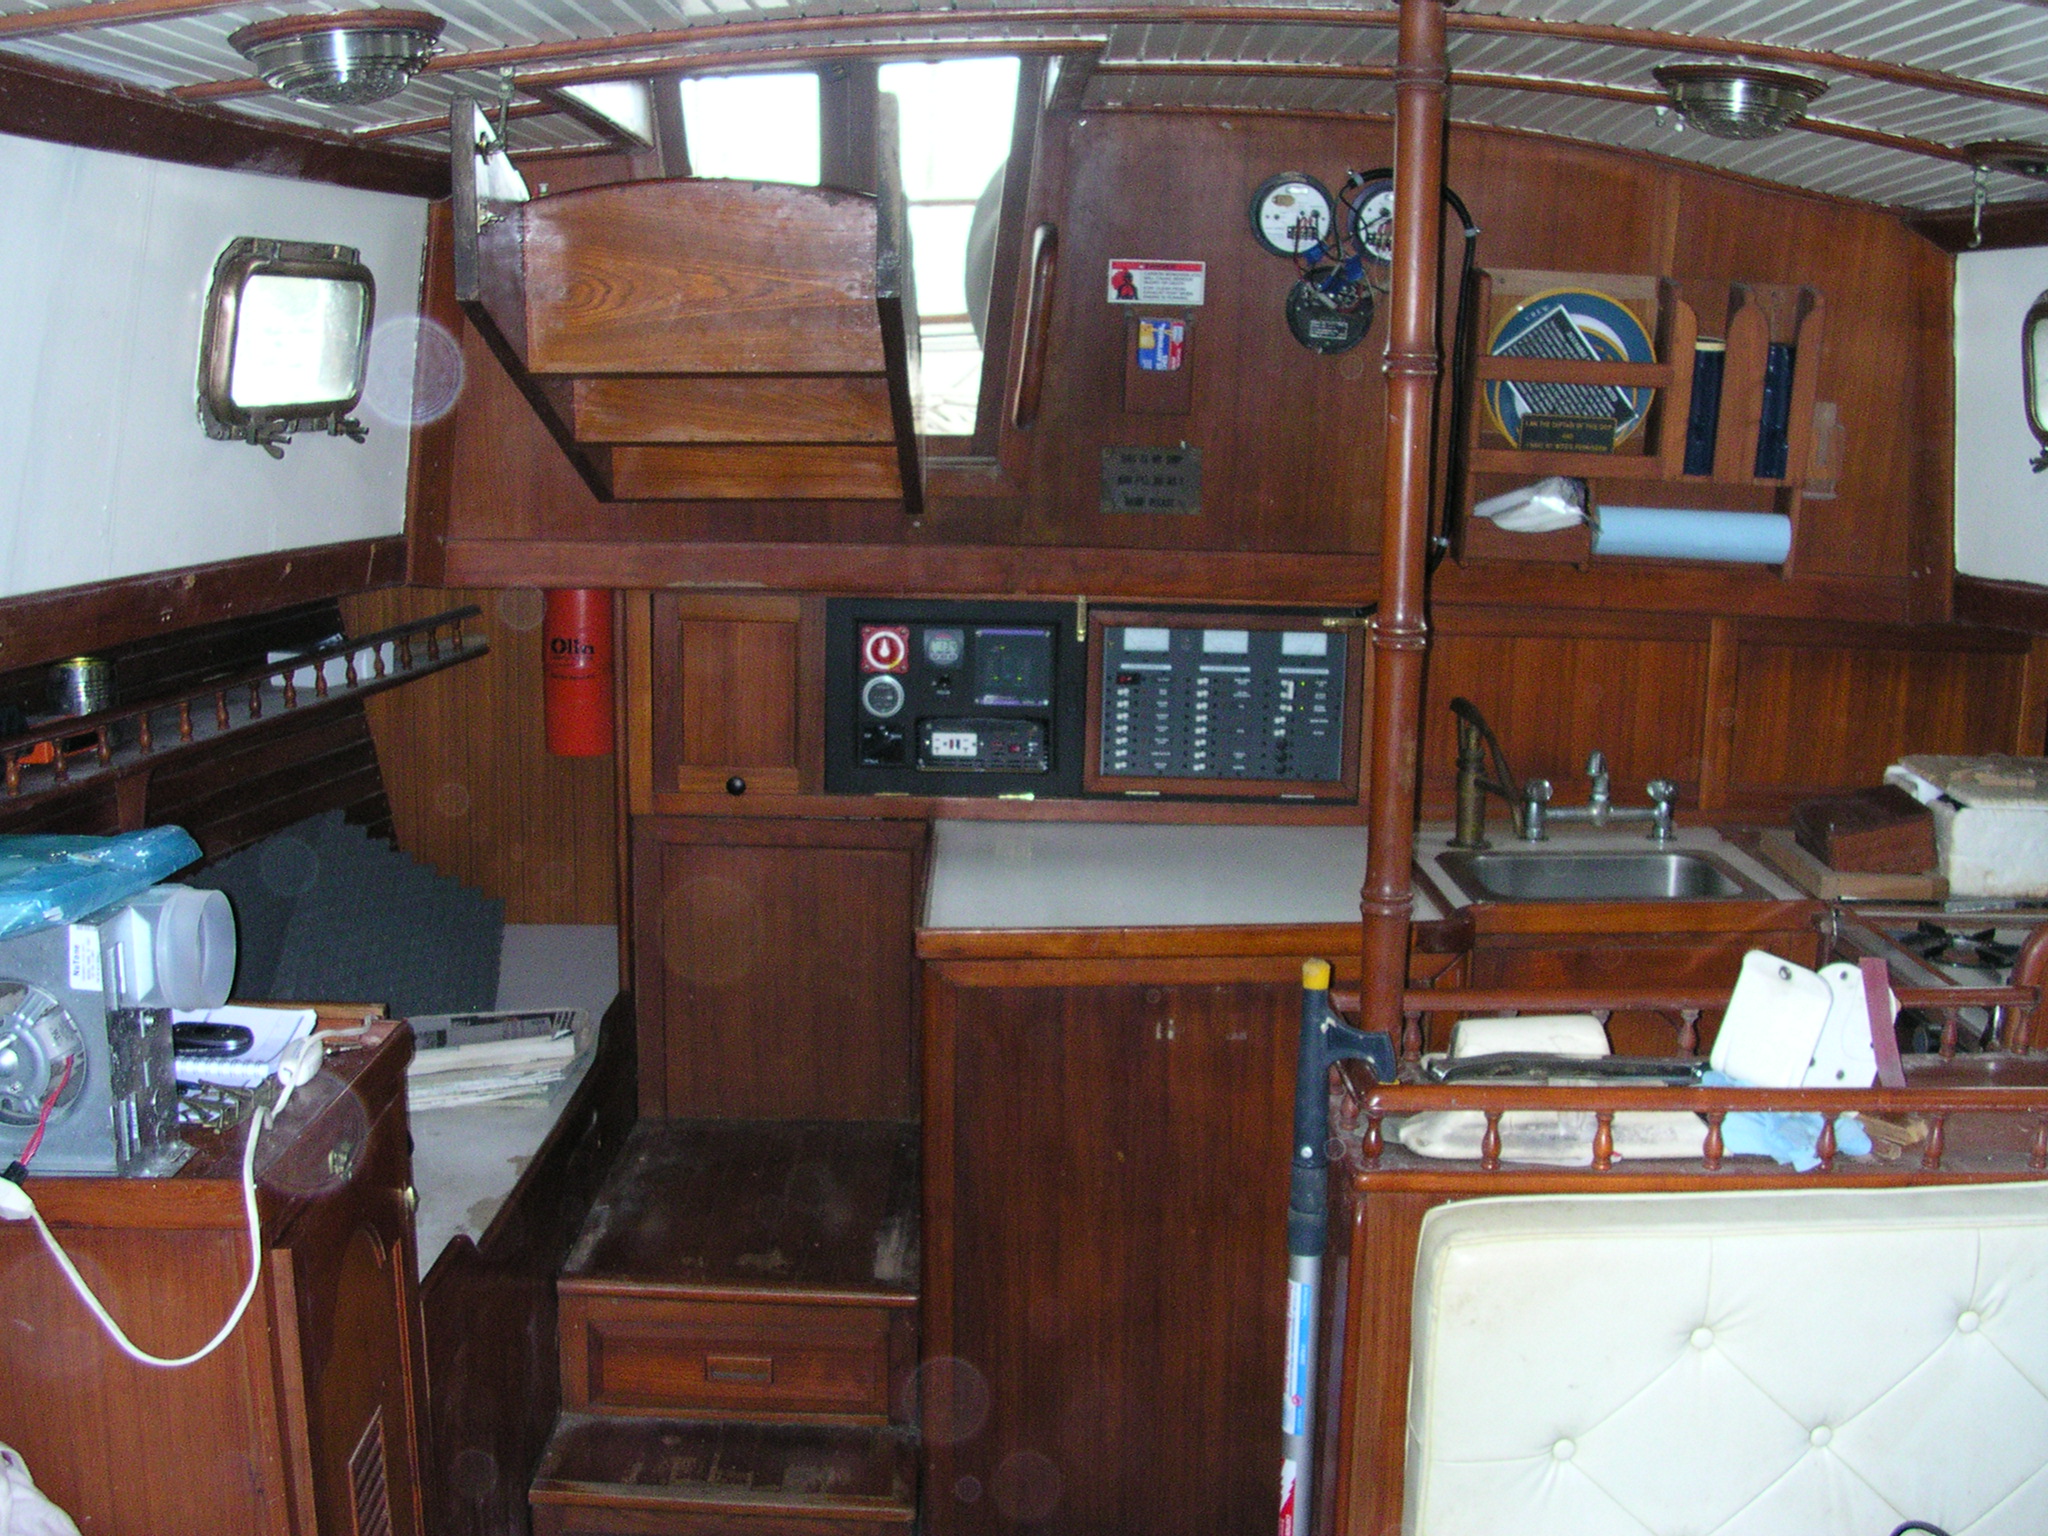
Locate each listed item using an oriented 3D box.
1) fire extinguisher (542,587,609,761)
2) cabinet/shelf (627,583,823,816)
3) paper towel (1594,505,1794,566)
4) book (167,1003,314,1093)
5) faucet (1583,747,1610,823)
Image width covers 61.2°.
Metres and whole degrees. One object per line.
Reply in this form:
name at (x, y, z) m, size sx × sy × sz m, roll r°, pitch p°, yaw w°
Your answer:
fire extinguisher at (-1.123, -0.255, 4.435) m, size 0.166 × 0.429 × 0.168 m, roll -1°, pitch 8°, yaw -15°
cabinet/shelf at (-0.664, -0.197, 4.544) m, size 0.527 × 0.626 × 0.495 m, roll 1°, pitch 12°, yaw -3°
paper towel at (1.613, -0.572, 4.251) m, size 0.528 × 0.134 × 0.187 m, roll -1°, pitch 8°, yaw -17°
book at (-1.203, 0.431, 2.687) m, size 0.157 × 0.039 × 0.161 m, roll 5°, pitch 13°, yaw 2°
faucet at (1.456, 0.038, 4.403) m, size 0.062 × 0.182 × 0.184 m, roll 4°, pitch 8°, yaw 17°
